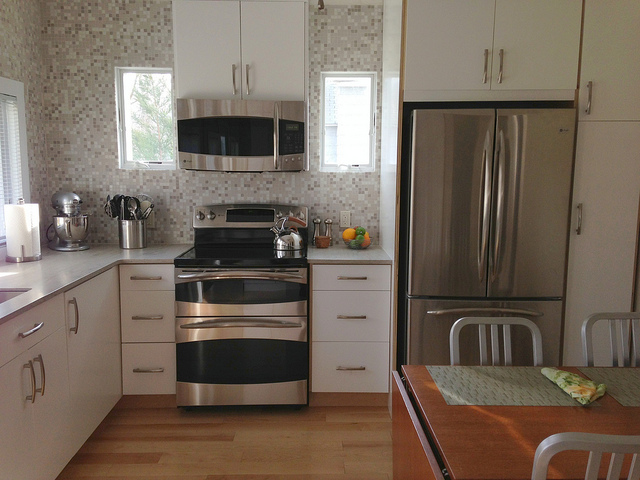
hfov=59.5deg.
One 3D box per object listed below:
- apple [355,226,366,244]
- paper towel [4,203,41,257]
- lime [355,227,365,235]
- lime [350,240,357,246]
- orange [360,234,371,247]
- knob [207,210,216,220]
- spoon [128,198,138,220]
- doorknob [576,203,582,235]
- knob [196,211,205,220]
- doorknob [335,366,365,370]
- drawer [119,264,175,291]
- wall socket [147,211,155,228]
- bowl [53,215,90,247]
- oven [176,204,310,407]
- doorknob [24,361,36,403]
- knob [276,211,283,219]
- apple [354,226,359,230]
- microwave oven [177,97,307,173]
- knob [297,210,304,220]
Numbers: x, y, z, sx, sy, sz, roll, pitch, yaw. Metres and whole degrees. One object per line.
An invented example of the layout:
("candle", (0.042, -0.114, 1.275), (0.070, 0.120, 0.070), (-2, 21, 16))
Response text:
("apple", (0.288, -0.037, 4.008), (0.063, 0.108, 0.050), (15, -13, -26))
("paper towel", (-1.894, -0.077, 3.560), (0.128, 0.370, 0.191), (12, 12, 25))
("lime", (0.294, -0.068, 4.046), (0.072, 0.047, 0.079), (-2, 5, -11))
("lime", (0.241, 0.018, 4.014), (0.041, 0.038, 0.030), (0, -6, 7))
("orange", (0.335, 0.003, 4.029), (0.067, 0.055, 0.076), (0, 1, 2))
("knob", (-0.803, -0.184, 4.099), (0.053, 0.067, 0.028), (-1, 5, -8))
("spoon", (-1.343, -0.226, 4.003), (0.063, 0.152, 0.050), (-2, 5, -9))
("doorknob", (1.634, -0.136, 3.520), (0.036, 0.197, 0.016), (-1, 5, 3))
("knob", (-0.881, -0.181, 4.081), (0.047, 0.057, 0.045), (2, -5, -5))
("doorknob", (0.199, 0.865, 3.783), (0.173, 0.024, 0.026), (0, -1, 1))
("drawer", (-1.138, 0.248, 3.654), (0.250, 0.127, 0.210), (1, 0, -4))
("wall socket", (-1.283, -0.158, 4.233), (0.049, 0.124, 0.014), (-2, 5, -5))
("bowl", (-1.742, -0.070, 3.915), (0.176, 0.167, 0.224), (0, 8, -5))
("oven", (-0.523, 0.442, 3.997), (0.895, 1.396, 0.699), (-1, 5, 1))
("doorknob", (-1.459, 0.715, 2.808), (0.049, 0.215, 0.027), (-5, 7, -38))
("knob", (-0.301, -0.189, 4.089), (0.035, 0.074, 0.034), (1, -1, -19))
("apple", (0.271, -0.095, 4.178), (0.033, 0.034, 0.034), (1, 7, 6))
("microwave oven", (-0.533, -0.729, 3.856), (0.801, 0.518, 0.500), (0, 5, -2))
("knob", (-0.145, -0.183, 4.146), (0.051, 0.059, 0.051), (2, 4, 8))
